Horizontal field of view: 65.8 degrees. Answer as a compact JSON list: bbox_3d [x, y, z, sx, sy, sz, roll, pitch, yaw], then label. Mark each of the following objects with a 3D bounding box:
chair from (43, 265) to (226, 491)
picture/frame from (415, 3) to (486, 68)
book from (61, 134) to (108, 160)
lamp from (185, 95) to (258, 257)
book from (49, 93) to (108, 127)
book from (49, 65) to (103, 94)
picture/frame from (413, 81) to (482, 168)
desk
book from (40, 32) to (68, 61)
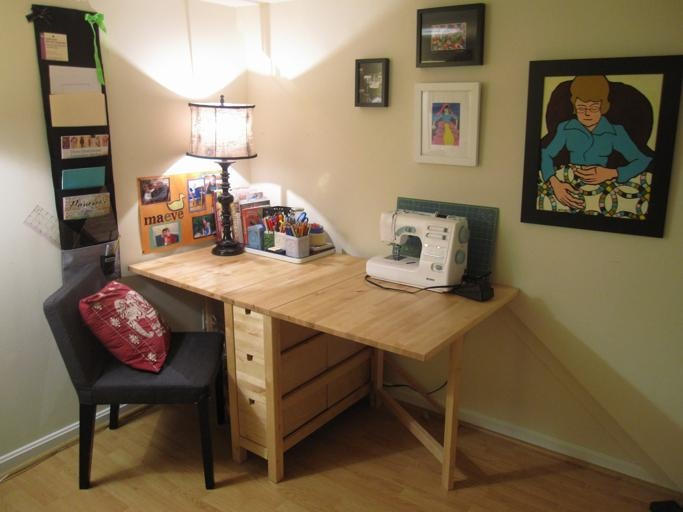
[{"bbox_3d":[-0.871,0.437,3.102,0.982,1.429,0.932,-2,22,-5],"label":"chair"},{"bbox_3d":[0.571,-1.141,2.709,0.336,0.293,0.025,5,11,26],"label":"picture/frame"},{"bbox_3d":[-1.324,-0.565,2.727,0.014,0.118,0.245,11,20,40],"label":"book"},{"bbox_3d":[-0.714,-0.473,3.192,0.395,0.932,0.243,-5,15,-14],"label":"lamp"},{"bbox_3d":[-1.344,-0.740,2.667,0.016,0.126,0.189,15,23,38],"label":"book"},{"bbox_3d":[-1.345,-0.889,2.647,0.023,0.100,0.169,17,27,34],"label":"book"},{"bbox_3d":[0.574,-0.712,2.806,0.409,0.498,0.034,11,21,34],"label":"picture/frame"},{"bbox_3d":[0.075,0.061,2.677,2.033,1.014,1.097,16,27,36],"label":"desk"},{"bbox_3d":[-1.401,-1.020,2.561,0.040,0.122,0.125,18,26,26],"label":"book"}]
